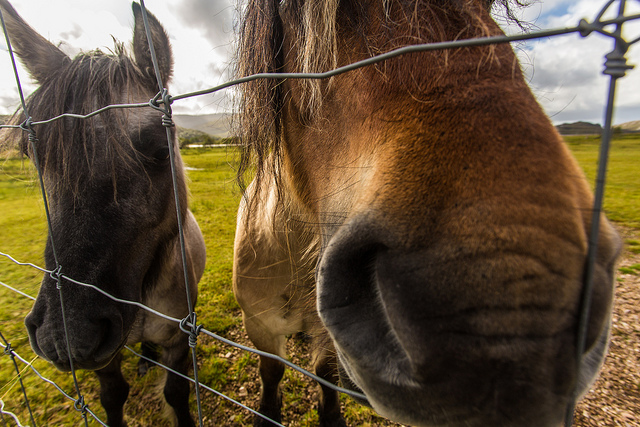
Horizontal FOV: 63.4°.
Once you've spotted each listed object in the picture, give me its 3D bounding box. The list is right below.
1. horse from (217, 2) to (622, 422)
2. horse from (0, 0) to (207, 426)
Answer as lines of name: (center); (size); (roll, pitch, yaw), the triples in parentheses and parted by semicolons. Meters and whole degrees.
horse: (0.515, -0.066, 3.259); (2.392, 2.534, 1.140); (7, 12, 37)
horse: (-1.686, 0.207, 4.110); (1.334, 3.605, 0.765); (-3, 9, -18)
